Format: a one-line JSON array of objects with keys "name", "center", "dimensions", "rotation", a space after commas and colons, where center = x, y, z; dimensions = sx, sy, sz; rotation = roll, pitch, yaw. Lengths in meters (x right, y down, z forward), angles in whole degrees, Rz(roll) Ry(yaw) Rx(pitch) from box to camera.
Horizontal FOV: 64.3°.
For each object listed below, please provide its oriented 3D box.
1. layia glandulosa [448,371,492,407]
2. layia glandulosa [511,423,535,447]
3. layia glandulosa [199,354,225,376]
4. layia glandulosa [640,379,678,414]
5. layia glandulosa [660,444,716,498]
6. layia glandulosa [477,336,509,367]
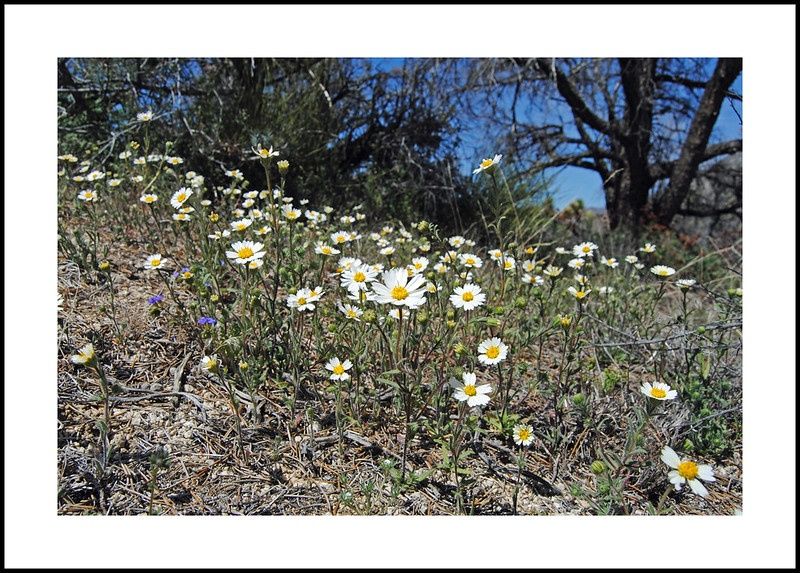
[{"name": "layia glandulosa", "center": [0.419, 0.656, 3.876], "dimensions": [0.244, 0.252, 0.215], "rotation": [7, 28, 19]}, {"name": "layia glandulosa", "center": [0.778, 0.939, 4.076], "dimensions": [0.143, 0.160, 0.056], "rotation": [20, -18, -31]}, {"name": "layia glandulosa", "center": [-1.172, 0.483, 3.955], "dimensions": [0.178, 0.108, 0.190], "rotation": [6, -8, -41]}, {"name": "layia glandulosa", "center": [1.648, 0.718, 4.082], "dimensions": [0.201, 0.114, 0.236], "rotation": [-3, 28, 1]}, {"name": "layia glandulosa", "center": [1.668, 1.089, 3.686], "dimensions": [0.271, 0.097, 0.295], "rotation": [0, 4, -27]}, {"name": "layia glandulosa", "center": [0.572, 0.455, 4.048], "dimensions": [0.167, 0.243, 0.217], "rotation": [-5, 27, -3]}]
